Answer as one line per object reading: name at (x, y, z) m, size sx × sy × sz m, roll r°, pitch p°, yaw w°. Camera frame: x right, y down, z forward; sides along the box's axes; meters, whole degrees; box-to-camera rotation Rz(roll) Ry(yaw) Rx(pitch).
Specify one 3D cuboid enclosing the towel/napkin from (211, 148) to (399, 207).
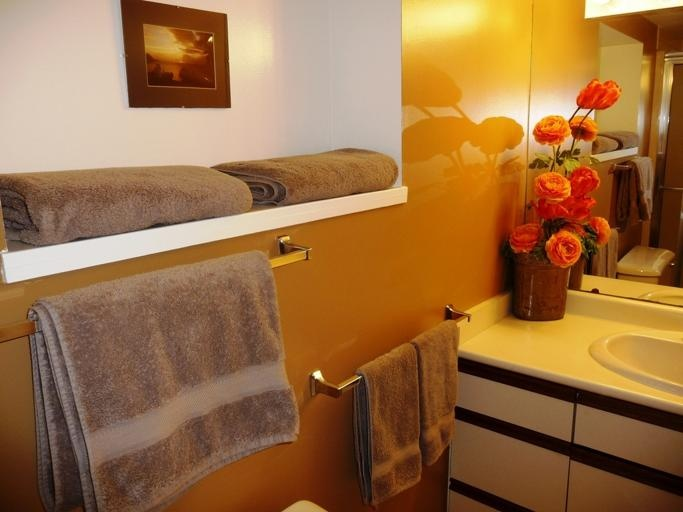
towel/napkin at (-0.060, -0.194, 1.336) m, size 0.215 × 0.090 × 0.304 m, roll 9°, pitch 18°, yaw 43°

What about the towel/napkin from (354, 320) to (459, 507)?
towel/napkin at (0.189, 0.457, 1.560) m, size 0.077 × 0.544 × 0.559 m, roll 11°, pitch 18°, yaw 41°

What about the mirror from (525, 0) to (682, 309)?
mirror at (0.968, -0.378, 1.884) m, size 0.546 × 1.127 × 0.395 m, roll 2°, pitch 16°, yaw 21°

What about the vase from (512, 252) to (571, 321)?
vase at (0.810, 0.087, 2.085) m, size 0.234 × 0.299 × 0.195 m, roll -2°, pitch 22°, yaw 7°
